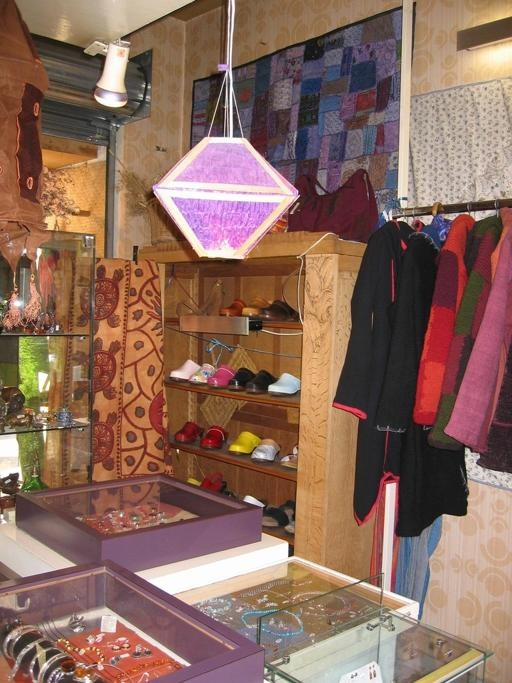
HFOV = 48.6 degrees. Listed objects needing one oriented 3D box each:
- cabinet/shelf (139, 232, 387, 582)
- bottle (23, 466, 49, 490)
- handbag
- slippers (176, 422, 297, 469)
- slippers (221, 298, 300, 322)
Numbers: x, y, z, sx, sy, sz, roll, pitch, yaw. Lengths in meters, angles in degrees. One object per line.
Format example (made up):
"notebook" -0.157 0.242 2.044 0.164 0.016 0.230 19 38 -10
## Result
"cabinet/shelf" -0.020 0.236 2.820 0.547 1.345 1.553 2 1 -33
"bottle" -0.859 0.539 2.224 0.098 0.062 0.041 1 1 -42
"handbag" 0.335 -0.639 2.671 0.123 0.318 0.499 1 1 -42
"slippers" -0.111 0.520 2.925 0.511 0.144 0.091 0 -29 42
"slippers" 0.033 -0.148 2.778 0.179 0.067 0.244 6 -2 42
